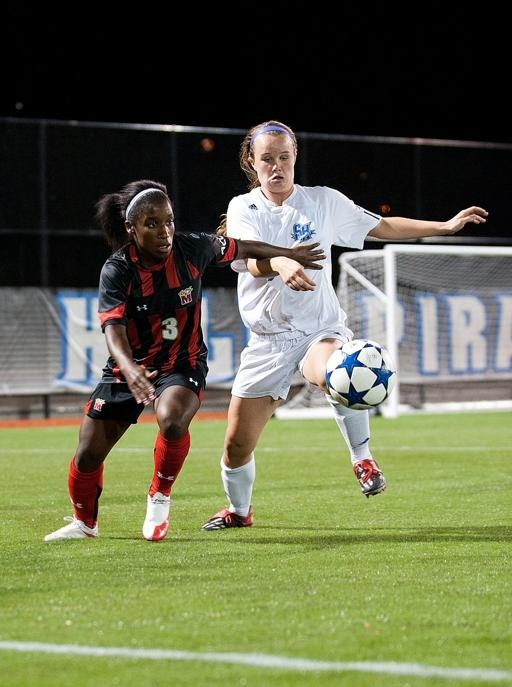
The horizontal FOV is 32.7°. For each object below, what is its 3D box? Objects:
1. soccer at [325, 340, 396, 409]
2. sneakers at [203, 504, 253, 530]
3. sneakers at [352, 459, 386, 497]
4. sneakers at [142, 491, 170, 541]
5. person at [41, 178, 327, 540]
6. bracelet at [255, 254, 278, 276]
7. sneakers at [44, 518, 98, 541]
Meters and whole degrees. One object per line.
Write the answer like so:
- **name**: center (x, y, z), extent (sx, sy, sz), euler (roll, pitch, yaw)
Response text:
- **soccer**: center (0.420, 0.128, 3.500), extent (0.292, 0.284, 0.206), euler (0, 1, -5)
- **sneakers**: center (-0.117, 0.733, 3.635), extent (0.211, 0.065, 0.073), euler (1, -5, -24)
- **sneakers**: center (0.476, 0.559, 3.678), extent (0.086, 0.105, 0.217), euler (-25, -3, -5)
- **sneakers**: center (-0.392, 0.657, 3.399), extent (0.116, 0.088, 0.269), euler (17, 31, -15)
- **person**: center (-0.455, 0.048, 3.437), extent (0.618, 1.409, 0.826), euler (0, 1, 27)
- **bracelet**: center (0.037, -0.327, 3.598), extent (0.090, 0.063, 0.064), euler (-17, -3, 20)
- **sneakers**: center (-0.720, 0.724, 3.385), extent (0.215, 0.068, 0.139), euler (-1, 1, -25)
